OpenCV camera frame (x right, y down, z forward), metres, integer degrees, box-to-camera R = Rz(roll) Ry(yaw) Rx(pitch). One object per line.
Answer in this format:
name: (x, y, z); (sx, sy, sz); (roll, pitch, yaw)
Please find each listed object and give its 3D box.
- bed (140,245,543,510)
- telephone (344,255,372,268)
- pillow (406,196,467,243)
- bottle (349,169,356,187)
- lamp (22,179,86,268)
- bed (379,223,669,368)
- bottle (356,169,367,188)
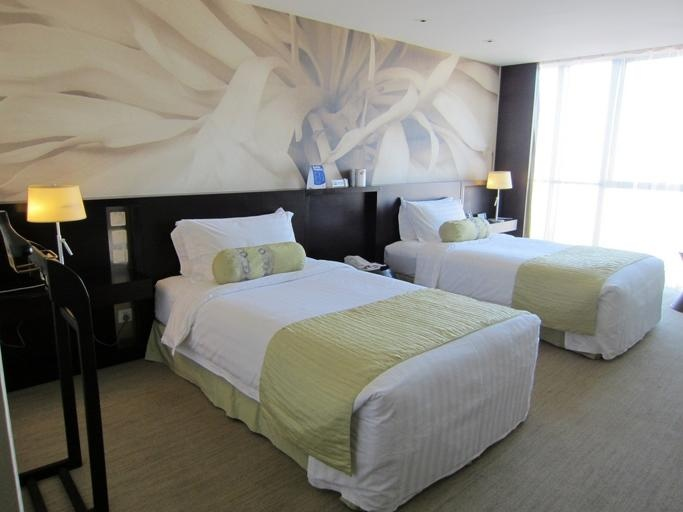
bed: (-0.176, 0.656, 3.092); (1.348, 0.582, 1.935); (-15, 22, -41)
telephone: (0.187, 0.068, 4.982); (0.198, 0.065, 0.149); (24, 28, 36)
pillow: (1.065, -0.473, 5.389); (0.695, 0.517, 0.181); (-2, -15, -33)
bottle: (0.122, -0.843, 5.061); (0.055, 0.174, 0.070); (-4, 13, -16)
lamp: (-1.962, -0.210, 3.226); (0.383, 0.542, 0.308); (12, 17, 43)
bed: (1.763, 0.242, 4.471); (1.665, 0.537, 1.352); (12, 18, 43)
bottle: (0.235, -0.858, 5.147); (0.096, 0.181, 0.328); (3, 13, 16)
